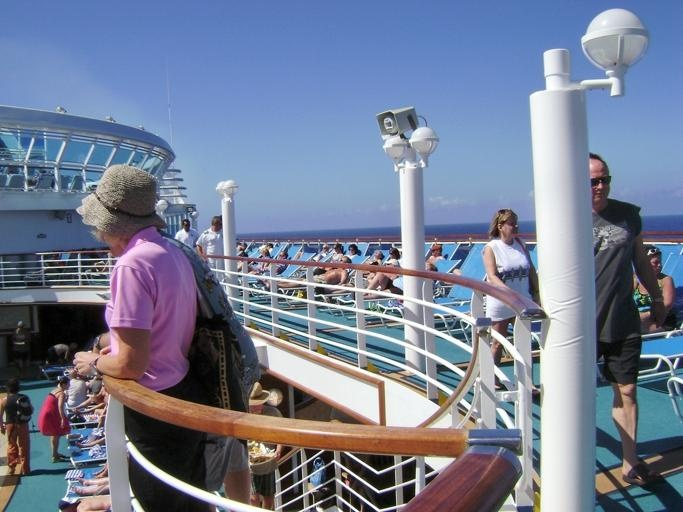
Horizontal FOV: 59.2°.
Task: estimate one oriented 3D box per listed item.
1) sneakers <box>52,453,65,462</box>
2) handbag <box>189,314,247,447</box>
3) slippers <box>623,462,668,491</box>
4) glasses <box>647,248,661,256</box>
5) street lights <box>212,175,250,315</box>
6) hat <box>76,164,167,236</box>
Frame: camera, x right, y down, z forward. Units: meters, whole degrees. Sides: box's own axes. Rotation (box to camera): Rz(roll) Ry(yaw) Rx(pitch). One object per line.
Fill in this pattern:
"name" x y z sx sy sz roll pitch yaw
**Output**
"sneakers" -4.647 3.326 9.953 0.277 0.118 0.090 0 1 -12
"handbag" -0.659 0.584 3.135 0.305 0.484 0.150 0 8 28
"slippers" 2.023 1.473 4.045 0.127 0.109 0.238 -12 -1 -41
"glasses" 3.587 -0.027 6.957 0.087 0.051 0.119 -4 3 2
"street lights" -1.690 -0.256 9.061 0.306 1.553 0.297 -3 5 -8
"hat" -1.155 -0.325 3.235 0.471 0.285 0.513 7 24 -27
